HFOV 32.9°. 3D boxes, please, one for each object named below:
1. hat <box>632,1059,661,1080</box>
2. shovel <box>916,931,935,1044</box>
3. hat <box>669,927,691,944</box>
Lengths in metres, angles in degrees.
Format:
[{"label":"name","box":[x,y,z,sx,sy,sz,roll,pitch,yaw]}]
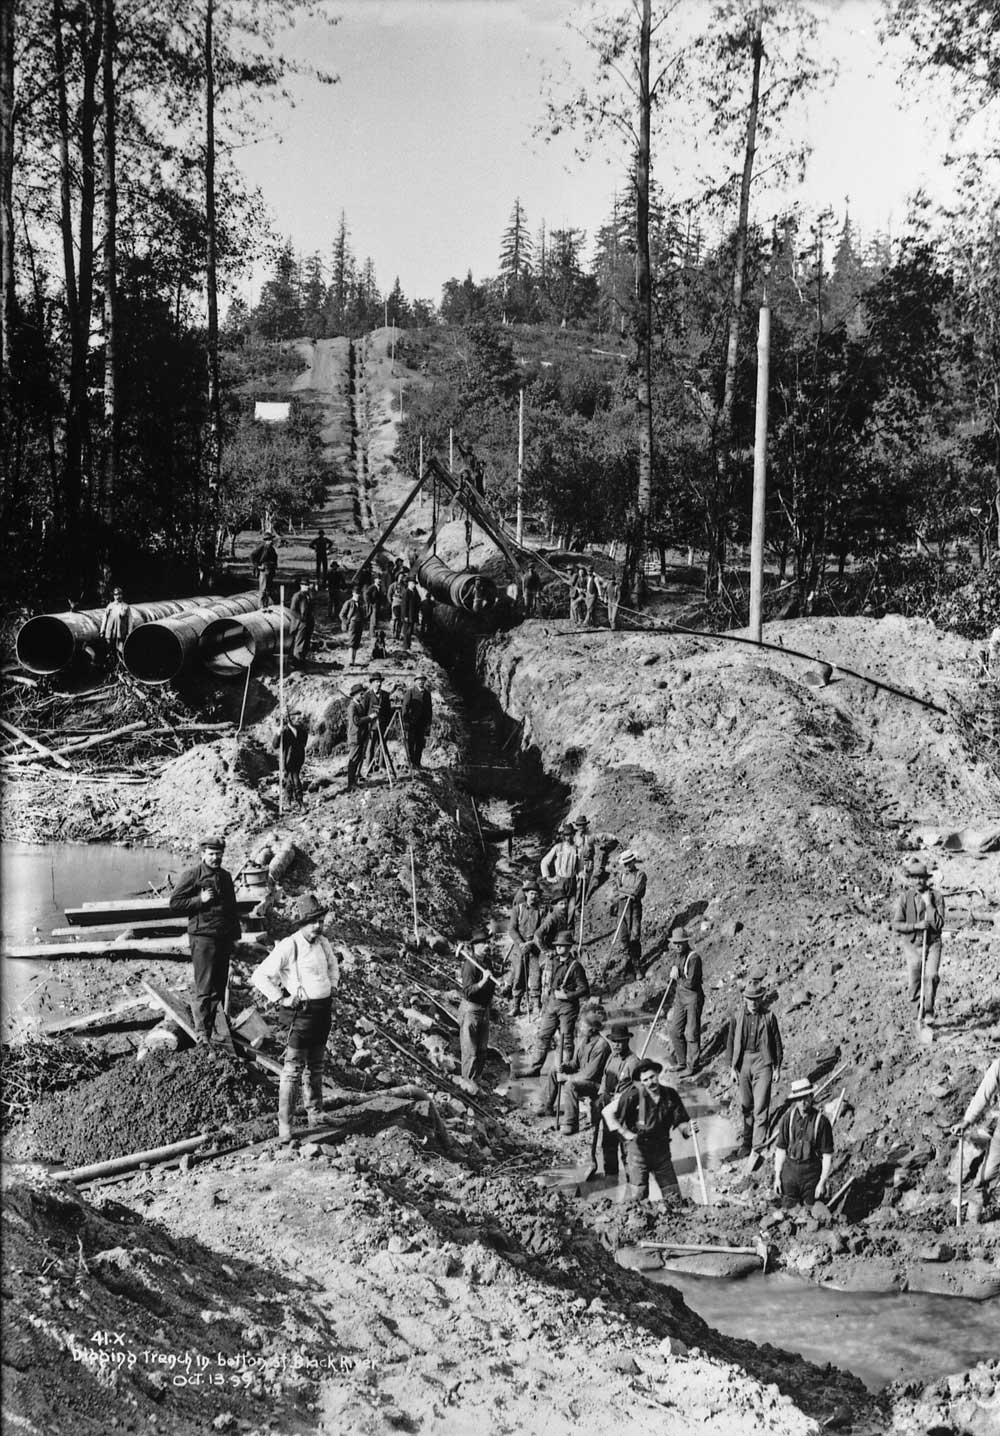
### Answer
[{"label":"hat","box":[1.101,2.630,12.672,0.192,0.144,0.257,2,4,27]},{"label":"shovel","box":[3.578,2.265,14.223,0.165,0.823,0.356,1,3,16]},{"label":"hat","box":[1.608,1.982,15.347,0.146,0.121,0.217,0,-6,14]}]
